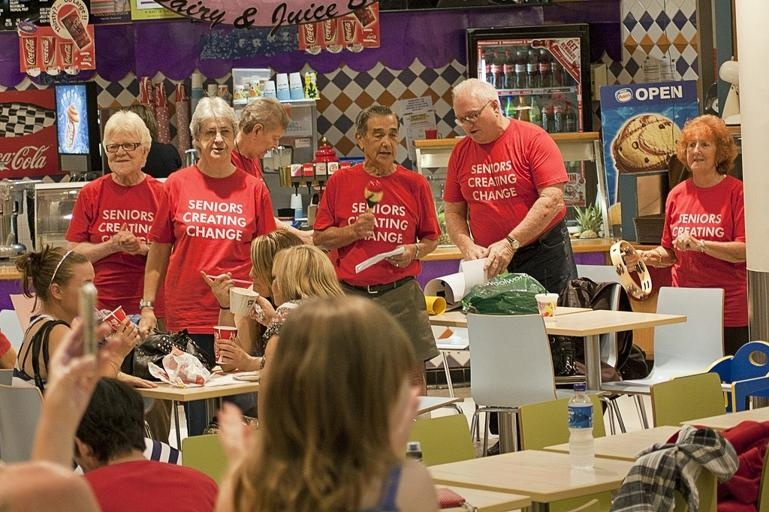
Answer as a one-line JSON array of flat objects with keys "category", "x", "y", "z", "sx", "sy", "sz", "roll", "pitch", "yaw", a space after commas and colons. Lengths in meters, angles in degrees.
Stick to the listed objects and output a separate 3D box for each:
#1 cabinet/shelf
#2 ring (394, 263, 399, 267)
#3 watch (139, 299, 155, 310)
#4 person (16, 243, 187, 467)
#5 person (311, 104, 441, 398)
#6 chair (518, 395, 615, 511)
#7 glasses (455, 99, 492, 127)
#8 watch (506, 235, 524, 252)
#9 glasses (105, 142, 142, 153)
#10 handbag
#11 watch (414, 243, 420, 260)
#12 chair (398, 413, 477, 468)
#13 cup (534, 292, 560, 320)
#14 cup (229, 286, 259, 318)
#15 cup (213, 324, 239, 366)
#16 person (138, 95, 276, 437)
[{"category": "cabinet/shelf", "x": 1.023, "y": -0.645, "z": 7.398, "sx": 1.882, "sy": 1.240, "sz": 0.995, "roll": -7, "pitch": -7, "yaw": -12}, {"category": "ring", "x": 0.076, "y": 0.053, "z": 4.532, "sx": 0.020, "sy": 0.022, "sz": 0.021, "roll": 0, "pitch": 1, "yaw": 0}, {"category": "watch", "x": -1.320, "y": 0.274, "z": 4.274, "sx": 0.048, "sy": 0.056, "sz": 0.054, "roll": 0, "pitch": -38, "yaw": 4}, {"category": "person", "x": -1.471, "y": 0.742, "z": 3.864, "sx": 0.842, "sy": 1.516, "sz": 0.553, "roll": -3, "pitch": 18, "yaw": -37}, {"category": "person", "x": -0.044, "y": 0.159, "z": 4.684, "sx": 0.793, "sy": 2.062, "sz": 0.730, "roll": 1, "pitch": 10, "yaw": -3}, {"category": "chair", "x": 0.692, "y": 0.785, "z": 3.140, "sx": 0.286, "sy": 0.567, "sz": 0.360, "roll": -5, "pitch": -8, "yaw": 35}, {"category": "glasses", "x": 0.575, "y": -0.934, "z": 4.875, "sx": 0.170, "sy": 0.051, "sz": 0.158, "roll": -48, "pitch": 9, "yaw": -24}, {"category": "watch", "x": 0.795, "y": -0.085, "z": 4.711, "sx": 0.052, "sy": 0.085, "sz": 0.077, "roll": -45, "pitch": 26, "yaw": -17}, {"category": "glasses", "x": -1.573, "y": -0.644, "z": 4.586, "sx": 0.215, "sy": 0.052, "sz": 0.078, "roll": -2, "pitch": 1, "yaw": 4}, {"category": "handbag", "x": -1.085, "y": 0.460, "z": 3.812, "sx": 0.338, "sy": 0.128, "sz": 0.283, "roll": -6, "pitch": 11, "yaw": -12}, {"category": "watch", "x": 0.199, "y": -0.035, "z": 4.612, "sx": 0.025, "sy": 0.071, "sz": 0.058, "roll": 4, "pitch": -10, "yaw": -10}, {"category": "chair", "x": 0.240, "y": 0.731, "z": 3.279, "sx": 0.210, "sy": 0.257, "sz": 0.383, "roll": -8, "pitch": 2, "yaw": -13}, {"category": "cup", "x": 0.949, "y": 0.291, "z": 4.451, "sx": 0.122, "sy": 0.115, "sz": 0.128, "roll": -2, "pitch": 1, "yaw": 0}, {"category": "cup", "x": -0.671, "y": 0.217, "z": 3.687, "sx": 0.127, "sy": 0.108, "sz": 0.138, "roll": 8, "pitch": 1, "yaw": 0}, {"category": "cup", "x": -0.775, "y": 0.438, "z": 3.803, "sx": 0.161, "sy": 0.175, "sz": 0.154, "roll": 0, "pitch": 3, "yaw": 0}, {"category": "person", "x": -0.949, "y": 0.291, "z": 4.464, "sx": 0.780, "sy": 2.268, "sz": 0.640, "roll": -3, "pitch": 17, "yaw": -21}]
